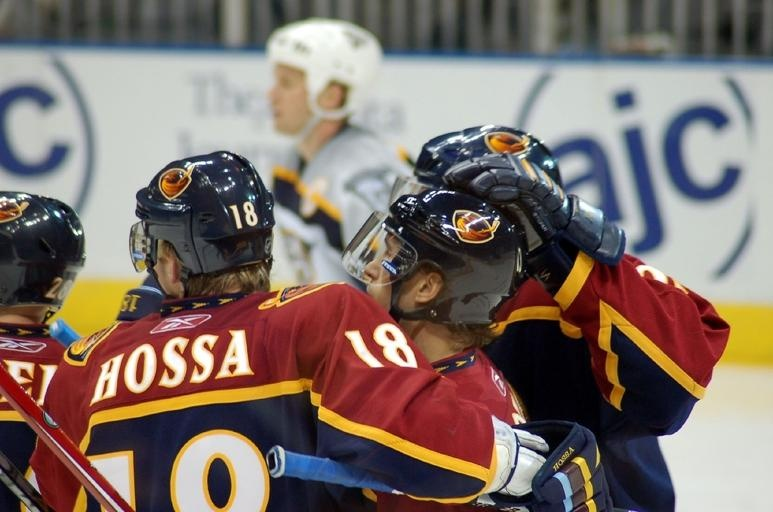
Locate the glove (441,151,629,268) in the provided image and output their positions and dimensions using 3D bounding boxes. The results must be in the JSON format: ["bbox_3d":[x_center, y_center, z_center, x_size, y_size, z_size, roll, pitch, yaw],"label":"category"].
[{"bbox_3d":[0.833,-0.171,9.800,0.926,0.405,0.578,11,36,-17],"label":"glove"}]

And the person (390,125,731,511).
[{"bbox_3d":[1.002,0.441,10.105,0.839,2.524,1.167,-33,38,9],"label":"person"}]
